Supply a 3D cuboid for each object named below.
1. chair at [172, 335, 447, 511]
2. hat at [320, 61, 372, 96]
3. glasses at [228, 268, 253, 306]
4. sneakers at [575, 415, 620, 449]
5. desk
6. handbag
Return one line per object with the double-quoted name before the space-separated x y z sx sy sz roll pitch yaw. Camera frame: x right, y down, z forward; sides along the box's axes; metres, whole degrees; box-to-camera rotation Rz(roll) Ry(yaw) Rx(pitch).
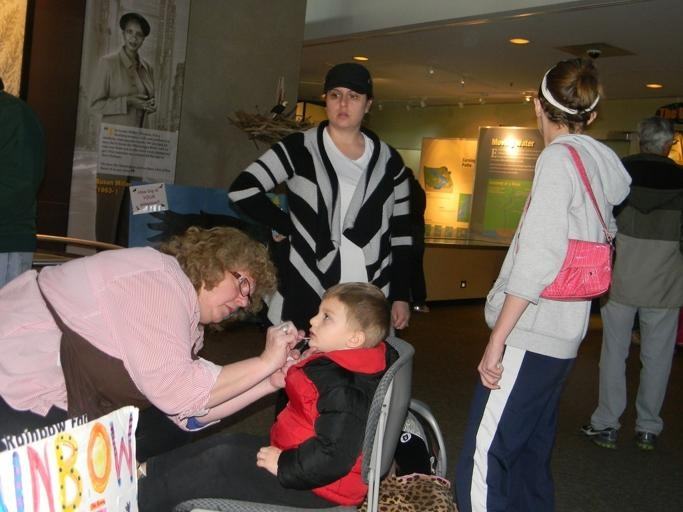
"chair" 0.014 0.568 2.155 0.790 0.839 0.579 3 -6 -5
"hat" 0.032 -0.735 2.437 0.132 0.097 0.180 8 1 7
"glasses" -0.334 0.099 1.916 0.026 0.090 0.088 -17 37 -20
"sneakers" 1.788 1.227 4.013 0.108 0.136 0.287 3 11 -27
"desk" 2.222 0.308 8.742 1.007 0.907 1.797 2 0 -37
"handbag" 0.893 0.042 2.149 0.227 0.242 0.085 5 1 -4
